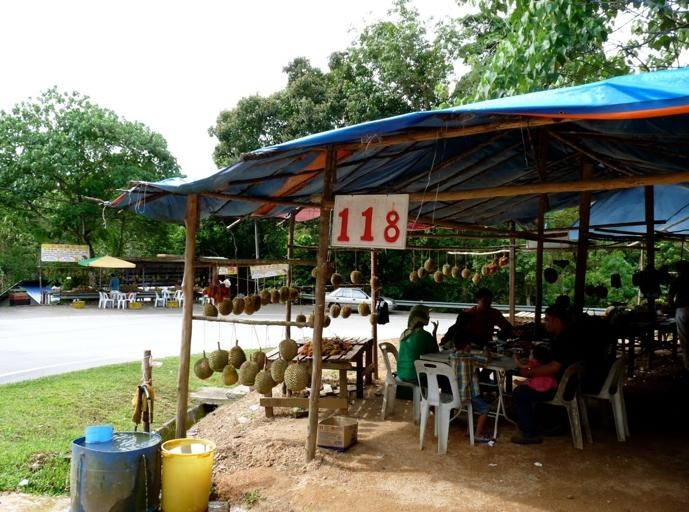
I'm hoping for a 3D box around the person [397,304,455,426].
[{"bbox_3d":[1.172,1.515,9.279,0.688,1.447,0.700,9,3,20],"label":"person"}]

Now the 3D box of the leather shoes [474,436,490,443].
[{"bbox_3d":[1.958,2.612,8.525,0.210,0.089,0.076,-3,-4,15],"label":"leather shoes"}]

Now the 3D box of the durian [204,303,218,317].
[{"bbox_3d":[-1.881,0.728,8.379,0.176,0.204,0.274,-2,4,-14],"label":"durian"}]

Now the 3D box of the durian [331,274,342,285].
[{"bbox_3d":[-0.151,0.398,10.899,0.198,0.243,0.367,-1,3,-2],"label":"durian"}]

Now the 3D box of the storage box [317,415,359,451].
[{"bbox_3d":[-0.079,2.545,8.513,0.620,0.299,0.615,-1,-6,10],"label":"storage box"}]

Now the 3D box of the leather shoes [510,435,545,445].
[{"bbox_3d":[2.587,2.600,8.515,0.405,0.170,0.158,-3,-5,12],"label":"leather shoes"}]

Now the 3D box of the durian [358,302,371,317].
[{"bbox_3d":[0.332,1.013,11.599,0.261,0.293,0.270,-1,-13,9],"label":"durian"}]

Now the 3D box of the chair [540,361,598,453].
[{"bbox_3d":[3.251,2.102,8.546,0.593,1.248,0.457,0,0,-4],"label":"chair"}]

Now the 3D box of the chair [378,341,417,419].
[{"bbox_3d":[0.852,2.015,9.772,0.621,1.113,0.585,4,2,24],"label":"chair"}]

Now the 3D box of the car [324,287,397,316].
[{"bbox_3d":[0.208,1.843,24.570,2.554,1.192,2.119,-1,0,39],"label":"car"}]

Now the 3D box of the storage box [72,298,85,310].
[{"bbox_3d":[-12.294,2.161,27.805,0.572,0.383,0.563,-9,-16,40],"label":"storage box"}]

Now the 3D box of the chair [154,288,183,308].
[{"bbox_3d":[-8.606,1.907,29.246,1.177,1.013,2.968,-2,3,-15],"label":"chair"}]
